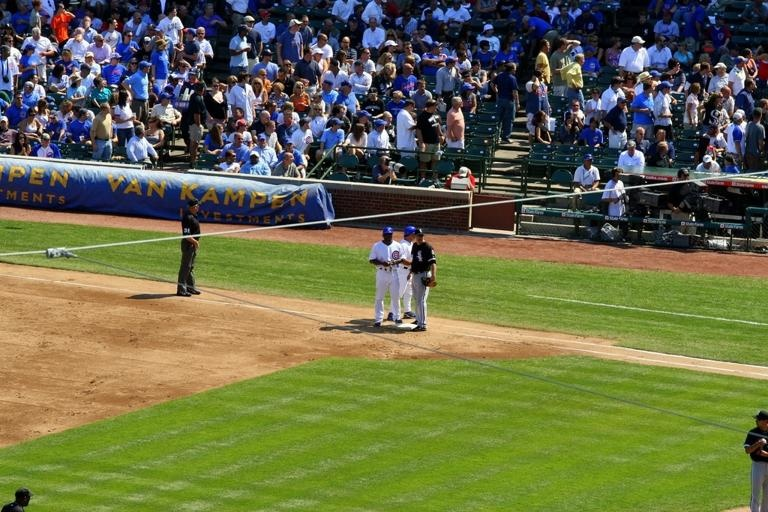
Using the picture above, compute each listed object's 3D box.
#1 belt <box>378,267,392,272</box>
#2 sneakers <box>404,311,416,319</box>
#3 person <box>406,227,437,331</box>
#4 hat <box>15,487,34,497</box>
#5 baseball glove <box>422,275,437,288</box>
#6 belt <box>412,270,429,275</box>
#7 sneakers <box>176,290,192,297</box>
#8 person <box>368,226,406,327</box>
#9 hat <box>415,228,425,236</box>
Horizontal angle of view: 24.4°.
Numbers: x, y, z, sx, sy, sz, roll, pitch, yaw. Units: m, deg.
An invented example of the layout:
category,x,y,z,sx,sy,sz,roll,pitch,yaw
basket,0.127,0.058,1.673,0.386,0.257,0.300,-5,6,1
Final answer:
category,x,y,z,sx,sy,sz,roll,pitch,yaw
belt,0.058,0.316,44.876,0.346,0.131,0.057,2,3,-4
sneakers,0.691,1.518,45.699,0.353,0.116,0.121,-1,5,6
person,0.987,0.592,44.844,0.652,2.549,0.738,4,3,1
hat,-7.308,4.831,36.187,0.322,0.108,0.210,-1,7,-18
baseball glove,1.158,0.633,44.733,0.439,0.200,0.531,4,4,1
belt,0.945,0.389,44.604,0.409,0.075,0.031,3,2,15
sneakers,-5.194,0.964,46.391,0.412,0.223,0.128,-2,33,-6
person,0.104,0.527,44.994,0.893,2.511,0.646,4,3,-1
hat,0.942,-0.583,44.761,0.226,0.125,0.270,-1,10,-18
